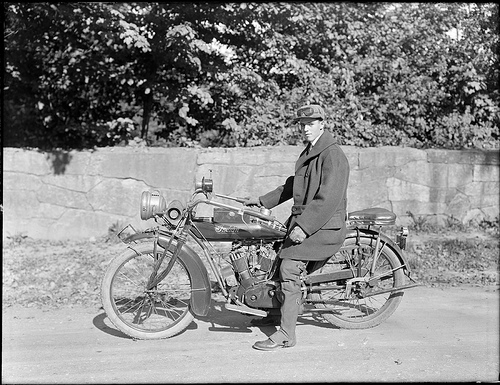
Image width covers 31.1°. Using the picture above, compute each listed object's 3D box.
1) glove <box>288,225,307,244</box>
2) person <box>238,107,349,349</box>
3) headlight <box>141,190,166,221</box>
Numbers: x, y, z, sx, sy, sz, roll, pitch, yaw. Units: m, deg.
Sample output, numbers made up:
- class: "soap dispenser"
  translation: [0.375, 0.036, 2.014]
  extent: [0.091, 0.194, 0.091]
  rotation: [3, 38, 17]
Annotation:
- class: "glove"
  translation: [0.562, 0.501, 10.541]
  extent: [0.153, 0.207, 0.080]
  rotation: [7, 29, -8]
- class: "person"
  translation: [0.674, 0.421, 10.768]
  extent: [0.968, 2.880, 0.692]
  rotation: [5, 3, 5]
- class: "headlight"
  translation: [-1.146, 0.161, 10.656]
  extent: [0.292, 0.316, 0.090]
  rotation: [4, 3, -5]
